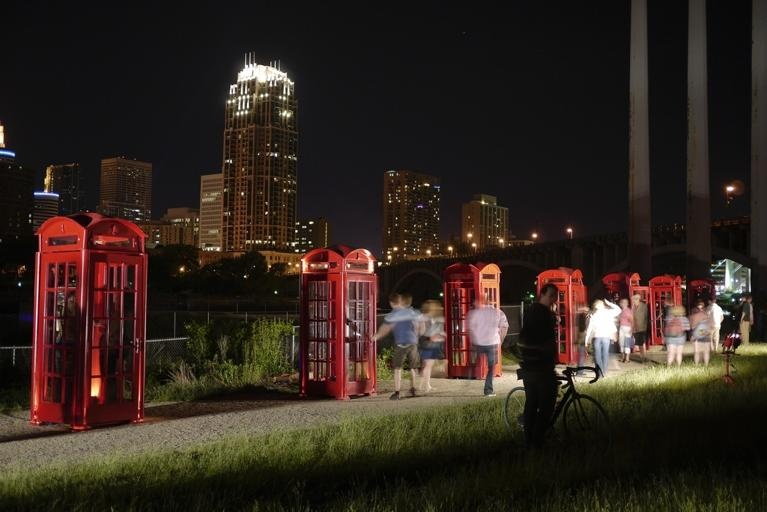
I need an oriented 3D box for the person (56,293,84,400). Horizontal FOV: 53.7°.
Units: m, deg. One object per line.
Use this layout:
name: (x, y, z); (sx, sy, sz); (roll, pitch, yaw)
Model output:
person: (-6.209, 1.767, 14.932); (0.219, 2.147, 0.878); (2, -7, -43)
